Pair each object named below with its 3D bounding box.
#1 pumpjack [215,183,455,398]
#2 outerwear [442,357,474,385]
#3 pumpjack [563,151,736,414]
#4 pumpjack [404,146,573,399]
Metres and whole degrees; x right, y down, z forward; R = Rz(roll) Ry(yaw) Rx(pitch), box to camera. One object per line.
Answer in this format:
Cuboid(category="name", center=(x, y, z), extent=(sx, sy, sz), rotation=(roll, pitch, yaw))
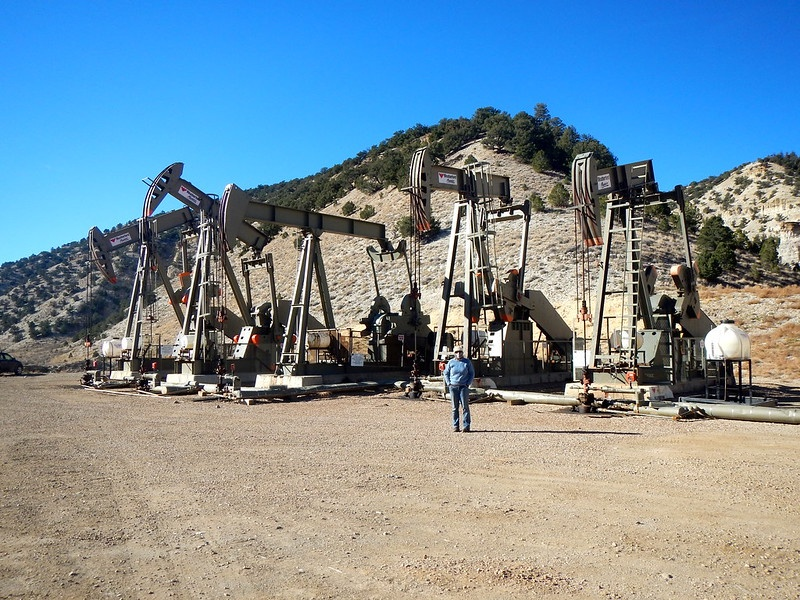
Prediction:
Cuboid(category="pumpjack", center=(-2.776, -0.270, 24.757), extent=(7.614, 7.022, 4.263), rotation=(0, -8, -35))
Cuboid(category="outerwear", center=(1.180, 1.479, 13.929), extent=(0.530, 0.573, 0.309), rotation=(0, 3, 8))
Cuboid(category="pumpjack", center=(8.803, -0.900, 26.511), extent=(3.702, 7.235, 22.379), rotation=(0, 3, 17))
Cuboid(category="pumpjack", center=(3.607, -0.600, 23.149), extent=(8.362, 7.708, 2.061), rotation=(-2, 3, -43))
